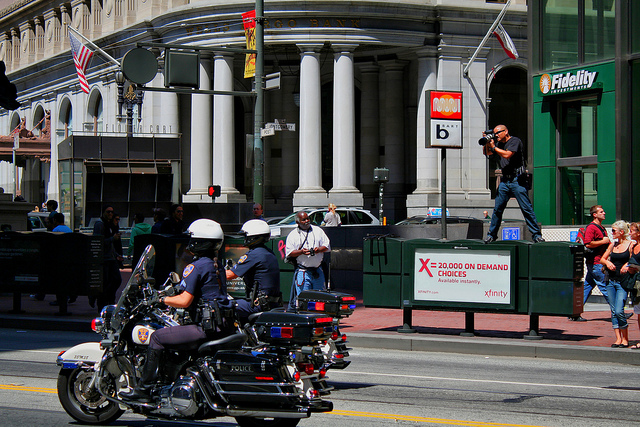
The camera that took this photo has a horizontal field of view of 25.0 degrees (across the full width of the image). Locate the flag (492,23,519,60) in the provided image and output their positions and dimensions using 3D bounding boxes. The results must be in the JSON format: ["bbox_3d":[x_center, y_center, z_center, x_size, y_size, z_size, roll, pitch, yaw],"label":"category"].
[{"bbox_3d":[8.415,-7.912,66.158,0.625,0.658,2.405,42,11,-20],"label":"flag"}]

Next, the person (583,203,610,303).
[{"bbox_3d":[8.392,1.254,44.593,0.825,3.026,0.963,1,-2,14],"label":"person"}]

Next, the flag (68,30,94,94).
[{"bbox_3d":[-11.810,-7.353,71.259,1.047,2.769,2.559,0,-2,-9],"label":"flag"}]
